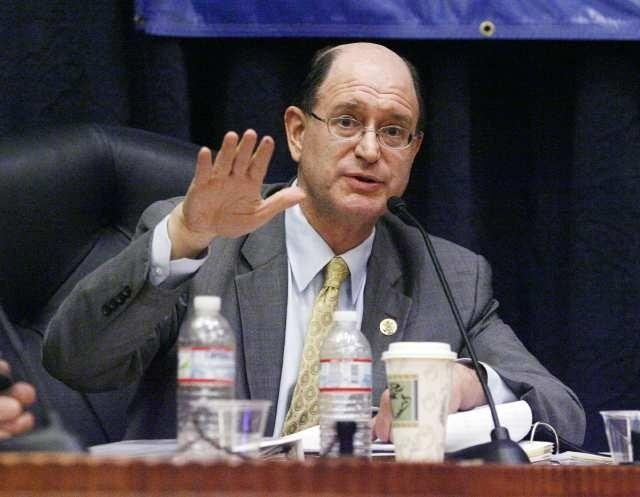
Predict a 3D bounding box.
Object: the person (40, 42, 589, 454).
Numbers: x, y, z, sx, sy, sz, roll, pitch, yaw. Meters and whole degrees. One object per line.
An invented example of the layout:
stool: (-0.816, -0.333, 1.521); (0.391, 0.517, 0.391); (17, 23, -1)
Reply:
person: (-0.059, -0.013, 2.431); (0.870, 0.798, 1.441); (6, 36, -3)

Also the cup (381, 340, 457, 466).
cup: (0.186, 0.279, 1.718); (0.194, 0.246, 0.194); (0, -2, 0)

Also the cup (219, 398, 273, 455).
cup: (-0.138, 0.312, 1.631); (0.092, 0.110, 0.095); (0, -6, 0)

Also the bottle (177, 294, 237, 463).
bottle: (-0.208, 0.236, 1.660); (0.103, 0.264, 0.191); (3, 10, -8)

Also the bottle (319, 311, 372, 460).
bottle: (0.053, 0.263, 1.788); (0.114, 0.266, 0.158); (5, 10, 1)
